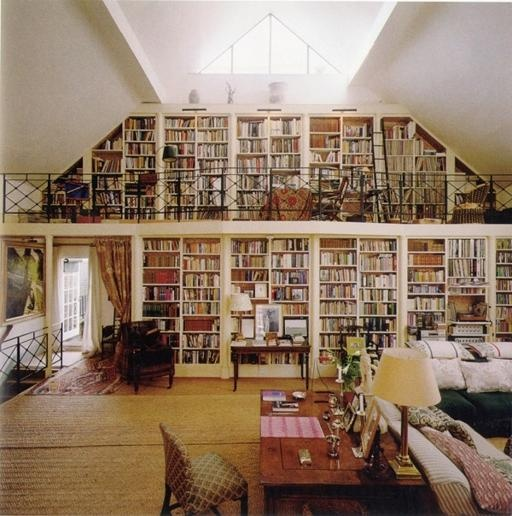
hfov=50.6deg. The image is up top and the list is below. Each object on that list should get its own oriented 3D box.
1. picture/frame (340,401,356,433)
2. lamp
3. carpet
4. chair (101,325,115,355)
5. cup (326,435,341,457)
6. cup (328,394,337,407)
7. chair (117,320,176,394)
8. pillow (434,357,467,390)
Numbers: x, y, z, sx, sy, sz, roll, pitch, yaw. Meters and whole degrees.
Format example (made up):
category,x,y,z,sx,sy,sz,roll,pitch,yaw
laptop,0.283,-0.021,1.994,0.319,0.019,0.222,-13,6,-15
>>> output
category,x,y,z,sx,sy,sz,roll,pitch,yaw
picture/frame,0.945,1.643,5.561,0.016,0.251,0.239,17,-17,-4
lamp,1.360,1.423,4.948,0.474,1.163,0.477,1,-1,-30
carpet,-2.782,1.897,8.697,1.270,0.220,1.777,0,-1,-9
chair,-2.748,1.510,10.001,0.259,0.528,0.237,0,-1,-19
cup,0.740,1.807,5.214,0.133,0.194,0.159,-1,-5,6
cup,0.821,1.534,5.844,0.084,0.112,0.113,0,-14,5
chair,-1.728,1.480,8.351,0.842,1.030,0.929,-1,-1,-4
pillow,2.466,1.499,6.896,0.420,0.468,0.163,-7,-17,-7
